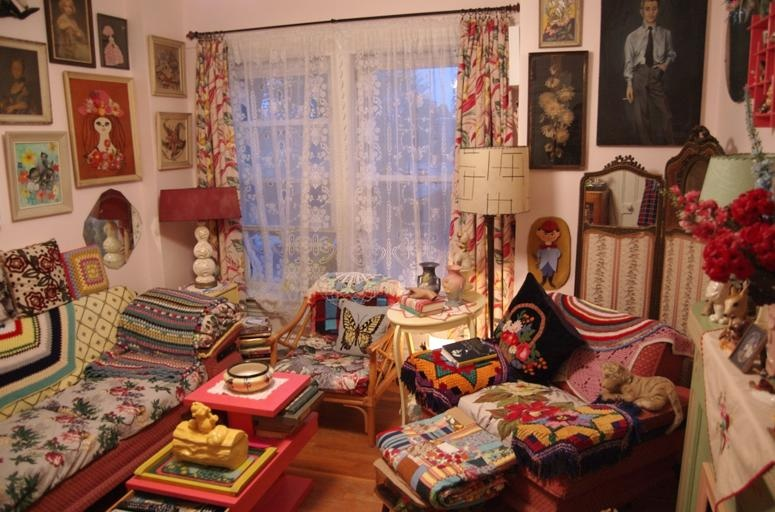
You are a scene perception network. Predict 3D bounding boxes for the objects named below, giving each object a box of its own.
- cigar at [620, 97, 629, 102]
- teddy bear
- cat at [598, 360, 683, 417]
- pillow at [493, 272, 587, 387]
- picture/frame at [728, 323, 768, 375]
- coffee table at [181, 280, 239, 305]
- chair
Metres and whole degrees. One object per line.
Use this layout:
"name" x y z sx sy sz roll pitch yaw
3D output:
"cigar" 1.847 -1.212 4.453 0.036 0.029 0.037 0 -1 8
"teddy bear" 1.571 0.820 3.626 0.439 0.393 0.494 12 18 43
"cat" 1.568 0.828 3.559 0.371 0.184 0.294 3 12 25
"pillow" 1.018 0.537 3.976 0.219 0.723 0.673 8 37 -34
"picture/frame" 1.575 0.411 2.494 0.094 0.171 0.165 14 11 11
"coffee table" -1.547 0.325 5.261 0.288 0.189 0.295 0 2 2
"chair" -0.443 0.727 4.823 1.059 1.219 1.081 3 11 9
